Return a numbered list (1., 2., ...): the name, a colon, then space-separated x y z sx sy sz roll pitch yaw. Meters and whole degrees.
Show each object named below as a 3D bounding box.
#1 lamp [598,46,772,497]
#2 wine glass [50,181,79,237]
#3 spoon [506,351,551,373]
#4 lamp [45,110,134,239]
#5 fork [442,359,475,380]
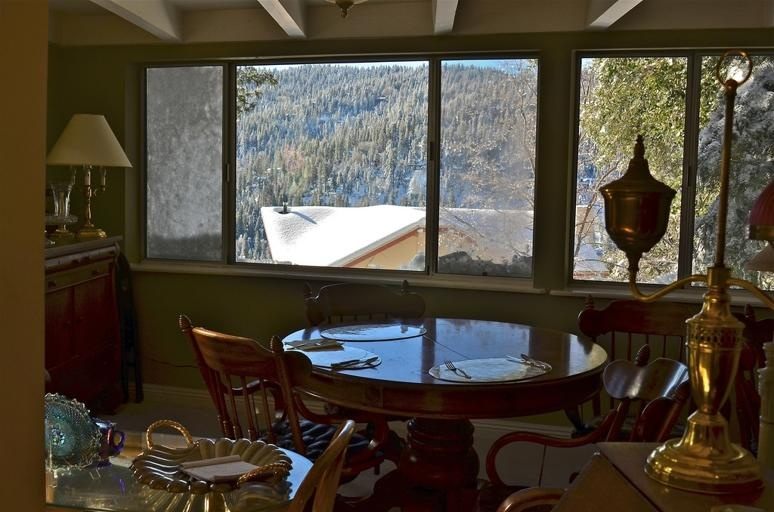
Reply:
1. lamp: 0.602 0.034 1.228 0.241 0.824 0.268 -4 5 -20
2. wine glass: -2.207 -0.319 4.143 0.188 0.332 0.187 2 5 31
3. spoon: 0.594 0.432 2.524 0.053 0.039 0.209 0 2 -24
4. lamp: -2.051 -0.535 4.190 0.527 0.810 0.549 3 4 17
5. fork: 0.277 0.453 2.410 0.029 0.032 0.220 -3 8 -15
